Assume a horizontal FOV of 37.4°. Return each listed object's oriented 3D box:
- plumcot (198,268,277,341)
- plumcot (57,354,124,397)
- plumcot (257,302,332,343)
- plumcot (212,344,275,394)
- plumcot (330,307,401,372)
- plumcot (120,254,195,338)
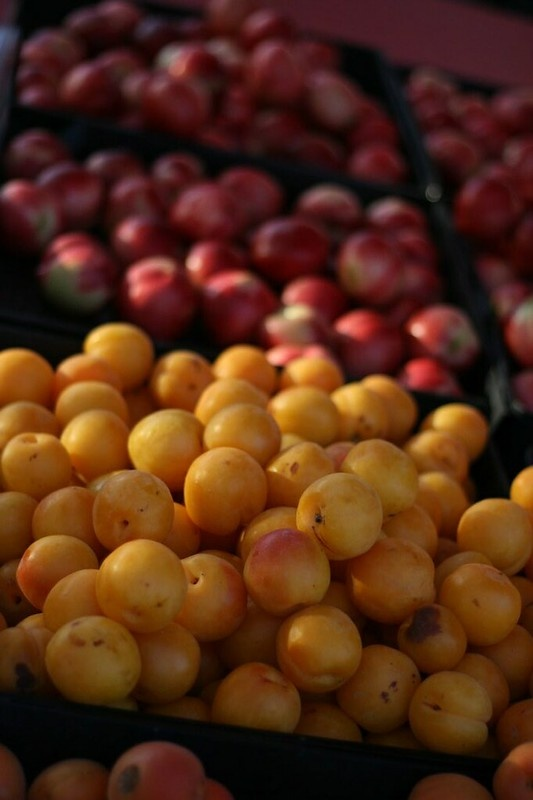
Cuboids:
[{"bbox_3d":[-0.050,-0.148,1.245,0.136,0.128,0.114,4,27,-12],"label":"plumcot"},{"bbox_3d":[-0.213,-0.026,0.966,0.068,0.050,0.053,9,17,-33],"label":"plumcot"},{"bbox_3d":[0.041,-0.114,1.198,0.077,0.038,0.068,12,53,9],"label":"plumcot"},{"bbox_3d":[-0.030,-0.037,0.977,0.058,0.044,0.045,21,18,-35],"label":"plumcot"},{"bbox_3d":[0.156,-0.091,1.249,0.112,0.113,0.099,-16,11,12],"label":"plumcot"},{"bbox_3d":[-0.162,-0.155,1.217,0.123,0.128,0.120,22,26,37],"label":"plumcot"}]
